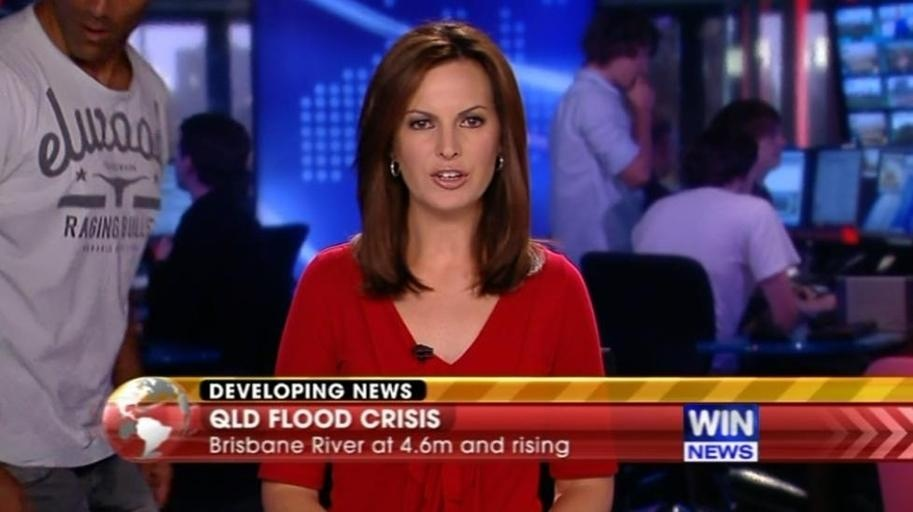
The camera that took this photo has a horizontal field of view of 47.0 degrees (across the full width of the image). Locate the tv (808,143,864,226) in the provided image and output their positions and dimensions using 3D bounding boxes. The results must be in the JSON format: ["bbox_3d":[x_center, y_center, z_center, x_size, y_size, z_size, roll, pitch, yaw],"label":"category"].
[{"bbox_3d":[1.735,-0.320,4.799,0.200,0.345,0.061,2,7,16],"label":"tv"}]

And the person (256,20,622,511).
[{"bbox_3d":[-0.045,0.033,3.805,1.249,1.758,0.442,1,7,8],"label":"person"}]
